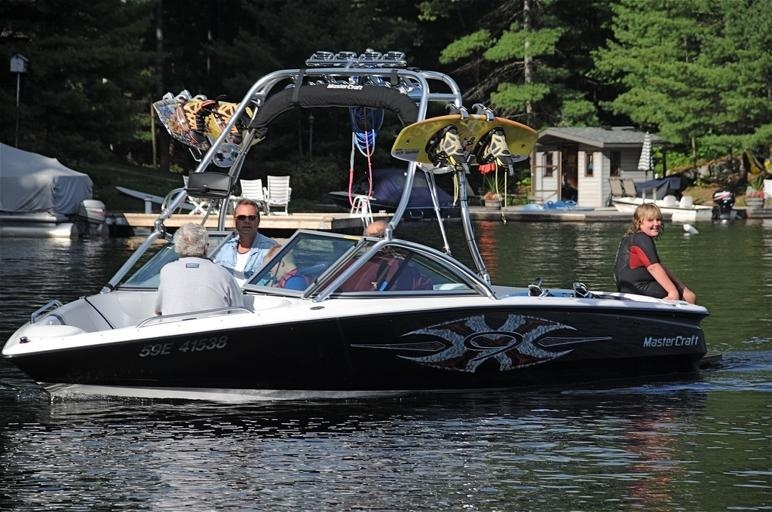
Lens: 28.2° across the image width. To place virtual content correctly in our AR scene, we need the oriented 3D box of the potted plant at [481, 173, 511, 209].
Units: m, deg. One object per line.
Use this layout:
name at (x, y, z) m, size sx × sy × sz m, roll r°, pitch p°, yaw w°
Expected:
potted plant at (3.907, -2.364, 55.679) m, size 1.053 × 0.905 × 0.856 m, roll 3°, pitch 12°, yaw 16°

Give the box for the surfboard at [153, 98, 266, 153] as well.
surfboard at (-2.919, -2.234, 25.229) m, size 1.613 × 0.786 × 0.539 m, roll 8°, pitch -9°, yaw -3°
